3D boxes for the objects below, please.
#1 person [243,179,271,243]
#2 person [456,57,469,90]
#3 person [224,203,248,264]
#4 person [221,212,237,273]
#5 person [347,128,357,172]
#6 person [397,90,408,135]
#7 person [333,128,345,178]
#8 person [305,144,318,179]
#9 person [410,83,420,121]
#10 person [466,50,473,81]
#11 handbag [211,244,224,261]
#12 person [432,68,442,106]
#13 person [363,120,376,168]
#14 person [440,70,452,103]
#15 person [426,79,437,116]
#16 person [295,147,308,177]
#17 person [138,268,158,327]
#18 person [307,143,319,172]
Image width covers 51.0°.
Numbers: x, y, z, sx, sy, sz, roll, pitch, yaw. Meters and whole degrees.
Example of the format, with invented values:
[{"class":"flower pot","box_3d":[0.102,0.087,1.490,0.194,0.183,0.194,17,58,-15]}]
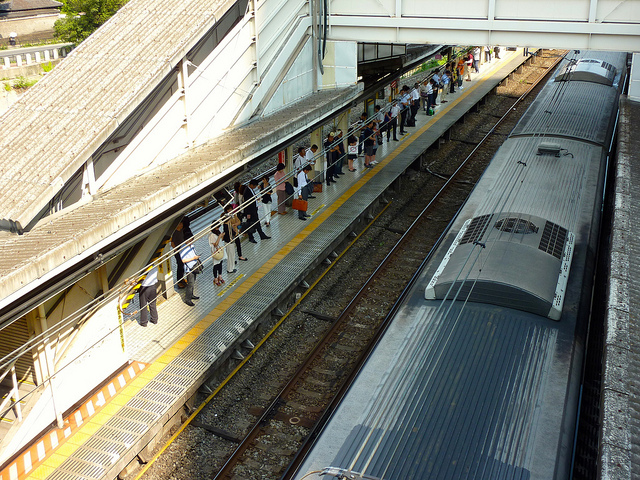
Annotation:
[{"class":"person","box_3d":[-1.848,-0.790,19.076,0.643,0.610,1.685,4,-36,6]},{"class":"person","box_3d":[7.559,-8.856,35.466,0.527,0.701,1.828,7,-24,13]},{"class":"person","box_3d":[-2.349,-0.153,18.071,0.376,0.418,1.455,-13,-25,0]},{"class":"person","box_3d":[-2.482,0.070,17.776,0.371,0.405,1.389,-15,-21,-11]},{"class":"person","box_3d":[1.142,-3.236,24.520,0.399,0.574,1.425,-4,-23,6]},{"class":"person","box_3d":[3.396,-5.256,27.521,0.424,0.663,1.710,2,-26,12]},{"class":"person","box_3d":[0.629,-3.039,23.290,0.361,0.618,1.539,7,-24,8]},{"class":"person","box_3d":[-0.306,-2.482,21.598,0.284,0.516,1.114,-6,-17,-2]},{"class":"person","box_3d":[4.100,-5.906,28.856,0.450,0.698,1.799,3,-21,10]},{"class":"person","box_3d":[8.164,-9.581,36.533,0.418,0.511,1.567,8,-42,14]},{"class":"handbag","box_3d":[-2.699,0.328,17.275,0.124,0.244,0.371,15,-53,30]},{"class":"person","box_3d":[5.607,-7.301,31.971,0.543,0.696,2.183,-3,-25,8]},{"class":"person","box_3d":[1.802,-3.554,24.378,0.442,0.539,1.610,12,-37,16]},{"class":"person","box_3d":[6.239,-7.550,33.011,0.503,0.582,1.818,-1,-32,9]},{"class":"person","box_3d":[5.083,-6.549,30.568,0.462,0.540,1.822,13,-42,22]},{"class":"person","box_3d":[-0.608,-2.379,20.803,0.339,0.545,1.273,7,-28,5]},{"class":"person","box_3d":[-4.237,1.414,16.229,0.389,0.384,1.576,-2,-54,-14]},{"class":"person","box_3d":[-0.246,-2.645,21.680,0.270,0.416,0.955,-5,-18,3]}]
